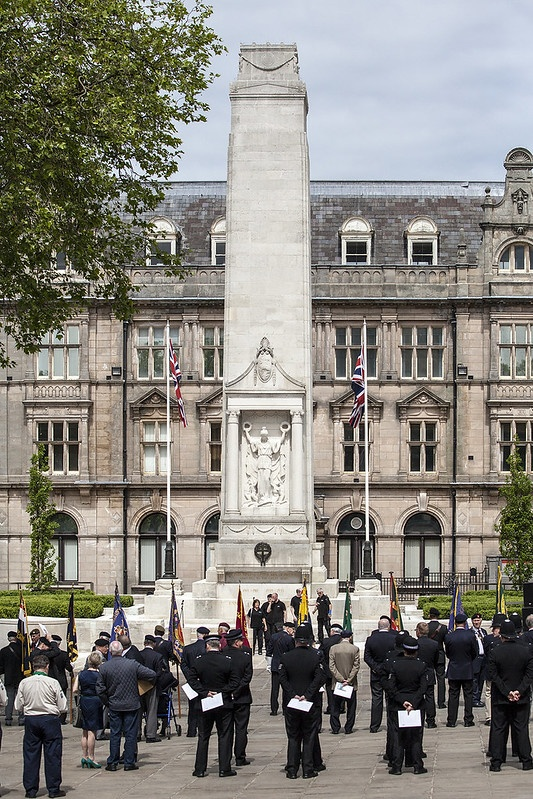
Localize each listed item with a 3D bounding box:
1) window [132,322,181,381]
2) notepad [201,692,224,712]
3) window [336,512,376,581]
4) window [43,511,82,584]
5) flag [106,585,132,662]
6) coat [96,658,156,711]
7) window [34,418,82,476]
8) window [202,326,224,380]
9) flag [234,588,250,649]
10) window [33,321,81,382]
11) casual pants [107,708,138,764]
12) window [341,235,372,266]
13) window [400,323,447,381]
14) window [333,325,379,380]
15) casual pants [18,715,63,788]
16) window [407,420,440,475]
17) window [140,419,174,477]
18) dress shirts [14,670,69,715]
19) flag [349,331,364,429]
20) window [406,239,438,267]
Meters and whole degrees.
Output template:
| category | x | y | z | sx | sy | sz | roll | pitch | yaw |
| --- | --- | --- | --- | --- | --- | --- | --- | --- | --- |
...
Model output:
| category | x | y | z | sx | sy | sz | roll | pitch | yaw |
| --- | --- | --- | --- | --- | --- | --- | --- | --- | --- |
| window | -3.433 | -1.550 | 73.764 | 1.521 | 2.634 | 0.170 | -1 | -2 | 9 |
| notepad | -0.836 | 4.866 | 37.342 | 0.366 | 0.284 | 0.223 | -1 | -4 | -4 |
| window | 2.892 | 4.680 | 73.891 | 1.166 | 2.242 | 0.765 | -1 | -4 | 9 |
| window | -6.489 | 4.739 | 74.613 | 1.017 | 2.711 | 0.227 | 2 | 31 | -3 |
| flag | -2.709 | 3.932 | 42.943 | 0.472 | 1.378 | 0.192 | -2 | 23 | 3 |
| coat | -2.280 | 4.714 | 38.338 | 0.924 | 1.088 | 0.563 | -2 | -4 | -3 |
| window | -6.600 | 1.463 | 73.760 | 1.398 | 2.342 | 0.166 | 0 | 4 | 3 |
| window | -1.639 | -1.519 | 74.996 | 0.692 | 2.187 | 0.196 | 0 | 33 | -6 |
| flag | -0.477 | 4.188 | 45.782 | 0.264 | 1.399 | 0.196 | 5 | 35 | 9 |
| window | -6.211 | -1.384 | 69.145 | 1.459 | 2.489 | 0.195 | 2 | -4 | -11 |
| casual pants | -2.355 | 5.592 | 38.318 | 0.494 | 1.469 | 0.451 | 2 | -44 | -5 |
| window | 3.007 | -4.970 | 76.326 | 0.901 | 1.190 | 0.183 | 0 | -26 | 1 |
| window | 5.075 | -1.561 | 74.866 | 1.403 | 2.224 | 0.166 | 0 | 40 | 4 |
| window | 2.913 | -1.491 | 74.605 | 1.476 | 2.340 | 0.134 | 0 | -43 | 2 |
| casual pants | -3.543 | 5.618 | 36.810 | 0.617 | 1.229 | 0.598 | -1 | -4 | 1 |
| window | 5.059 | 1.548 | 74.323 | 0.945 | 2.083 | 0.233 | -1 | -41 | 6 |
| window | -3.481 | 1.546 | 74.775 | 0.801 | 2.178 | 0.230 | 0 | 35 | -3 |
| dress shirts | -3.573 | 4.641 | 37.052 | 0.845 | 0.984 | 0.560 | 1 | 3 | 1 |
| flag | 2.546 | -0.456 | 62.764 | 0.315 | 2.718 | 0.259 | 5 | 30 | 3 |
| window | 5.159 | -4.875 | 76.125 | 0.772 | 1.109 | 0.120 | 1 | -7 | 2 |
